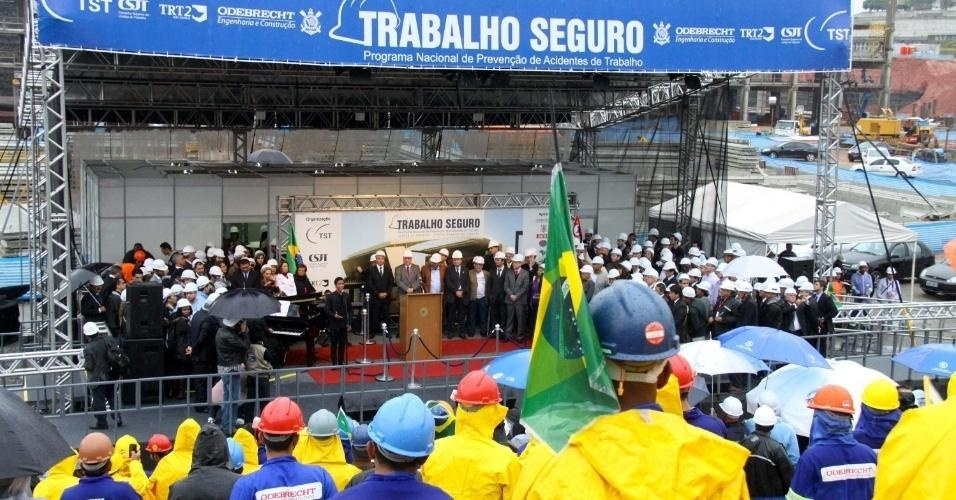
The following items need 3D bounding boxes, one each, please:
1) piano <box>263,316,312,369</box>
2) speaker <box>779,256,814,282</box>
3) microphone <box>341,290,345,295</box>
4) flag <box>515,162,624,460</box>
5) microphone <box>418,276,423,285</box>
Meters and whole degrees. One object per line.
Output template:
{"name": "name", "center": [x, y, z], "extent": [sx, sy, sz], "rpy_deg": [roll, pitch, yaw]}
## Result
{"name": "piano", "center": [-6.706, 3.142, 44.122], "extent": [1.594, 1.980, 1.865], "rpy_deg": [-2, 3, -26]}
{"name": "speaker", "center": [12.919, 0.594, 50.058], "extent": [1.594, 1.406, 0.814], "rpy_deg": [-4, 3, -27]}
{"name": "microphone", "center": [-4.901, 1.507, 44.762], "extent": [0.136, 0.128, 0.176], "rpy_deg": [0, -4, 1]}
{"name": "flag", "center": [2.181, 1.475, 32.727], "extent": [2.242, 6.801, 0.325], "rpy_deg": [-4, -1, 5]}
{"name": "microphone", "center": [-2.185, 1.138, 47.141], "extent": [0.150, 0.214, 0.226], "rpy_deg": [-7, -3, 41]}
